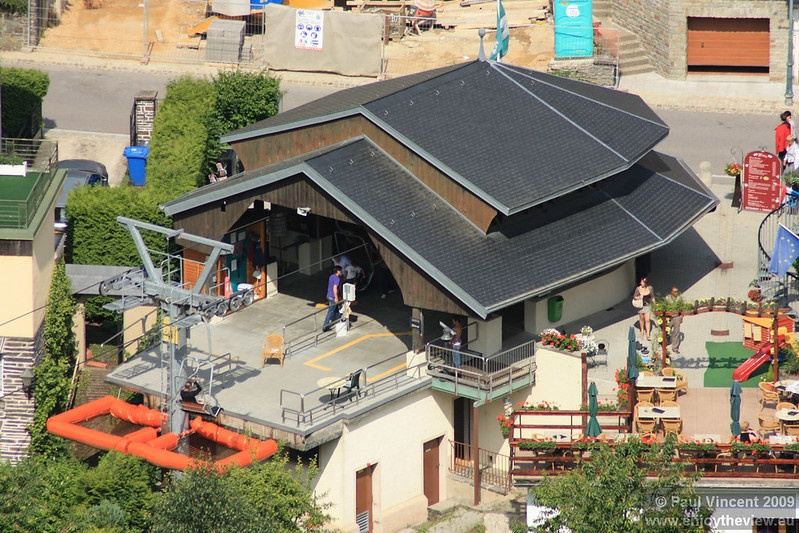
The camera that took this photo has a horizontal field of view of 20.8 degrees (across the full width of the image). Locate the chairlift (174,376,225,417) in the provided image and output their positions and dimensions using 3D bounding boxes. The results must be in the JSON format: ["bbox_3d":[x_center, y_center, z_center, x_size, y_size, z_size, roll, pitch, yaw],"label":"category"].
[{"bbox_3d":[-10.278,6.870,112.404,2.228,2.011,1.997,9,16,41],"label":"chairlift"}]

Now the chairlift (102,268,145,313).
[{"bbox_3d":[-14.671,1.358,113.017,3.397,1.563,1.917,-1,13,41],"label":"chairlift"}]

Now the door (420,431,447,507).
[{"bbox_3d":[1.835,10.819,115.310,1.158,3.560,0.417,-6,11,-42],"label":"door"}]

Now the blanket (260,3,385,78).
[{"bbox_3d":[-5.132,-14.605,142.162,6.168,3.265,0.498,6,21,10],"label":"blanket"}]

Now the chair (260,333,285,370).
[{"bbox_3d":[-6.732,4.357,115.851,1.516,1.883,1.498,1,12,2],"label":"chair"}]

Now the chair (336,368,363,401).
[{"bbox_3d":[-2.536,6.049,113.150,1.316,1.590,2.297,2,8,3],"label":"chair"}]

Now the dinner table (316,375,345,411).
[{"bbox_3d":[-3.381,6.371,113.353,1.440,0.853,1.383,8,-34,-8],"label":"dinner table"}]

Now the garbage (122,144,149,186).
[{"bbox_3d":[-15.969,-6.131,131.077,1.836,2.472,1.928,6,37,2],"label":"garbage"}]

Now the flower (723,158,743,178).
[{"bbox_3d":[19.781,-5.769,127.871,0.975,0.696,0.944,-1,8,14],"label":"flower"}]
